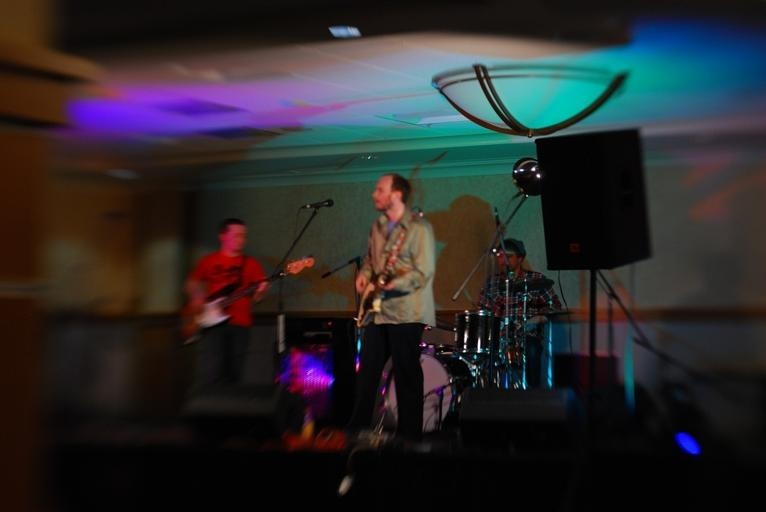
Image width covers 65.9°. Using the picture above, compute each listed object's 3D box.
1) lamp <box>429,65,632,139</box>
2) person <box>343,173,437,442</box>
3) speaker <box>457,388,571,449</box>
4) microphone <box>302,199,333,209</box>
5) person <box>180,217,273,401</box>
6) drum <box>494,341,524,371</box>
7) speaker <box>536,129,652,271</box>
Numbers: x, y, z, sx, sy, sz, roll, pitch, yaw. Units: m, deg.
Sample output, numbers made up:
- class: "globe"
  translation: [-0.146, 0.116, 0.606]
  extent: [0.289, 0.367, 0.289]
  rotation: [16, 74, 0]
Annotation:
- class: "lamp"
  translation: [0.746, -0.779, 3.092]
  extent: [0.962, 0.276, 0.949]
  rotation: [-9, 12, -42]
- class: "person"
  translation: [0.056, 0.253, 3.117]
  extent: [0.414, 1.372, 0.177]
  rotation: [2, -3, 0]
- class: "speaker"
  translation: [0.442, 0.507, 1.926]
  extent: [0.366, 0.167, 0.284]
  rotation: [-1, -1, 9]
- class: "microphone"
  translation: [-0.420, -0.327, 3.695]
  extent: [0.148, 0.040, 0.042]
  rotation: [-12, 29, 10]
- class: "person"
  translation: [-0.840, 0.261, 3.174]
  extent: [0.427, 0.945, 0.321]
  rotation: [4, -4, -22]
- class: "drum"
  translation: [0.684, 0.544, 3.187]
  extent: [0.136, 0.233, 0.135]
  rotation: [5, -38, 4]
- class: "speaker"
  translation: [0.755, -0.202, 2.138]
  extent: [0.402, 0.502, 0.114]
  rotation: [2, -3, 6]
